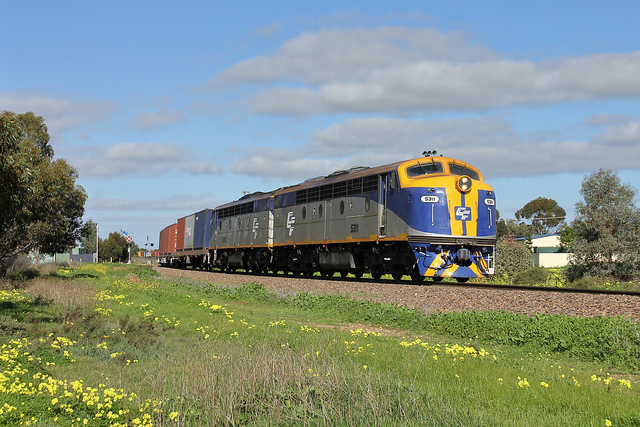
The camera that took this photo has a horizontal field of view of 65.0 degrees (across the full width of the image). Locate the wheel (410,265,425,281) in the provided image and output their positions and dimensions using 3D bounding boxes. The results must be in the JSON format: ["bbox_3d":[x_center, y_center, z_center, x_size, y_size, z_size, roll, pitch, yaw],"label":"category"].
[{"bbox_3d":[4.775,2.964,25.069,0.636,0.816,1.896,2,-1,11],"label":"wheel"}]

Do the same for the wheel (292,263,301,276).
[{"bbox_3d":[-1.771,3.813,34.889,0.428,0.442,0.818,9,-35,1],"label":"wheel"}]

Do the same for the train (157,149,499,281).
[{"bbox_3d":[-1.733,1.194,37.886,4.698,6.088,32.571,2,-5,-31],"label":"train"}]

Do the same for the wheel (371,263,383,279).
[{"bbox_3d":[3.099,3.188,27.966,0.634,0.845,1.108,2,-1,7],"label":"wheel"}]
